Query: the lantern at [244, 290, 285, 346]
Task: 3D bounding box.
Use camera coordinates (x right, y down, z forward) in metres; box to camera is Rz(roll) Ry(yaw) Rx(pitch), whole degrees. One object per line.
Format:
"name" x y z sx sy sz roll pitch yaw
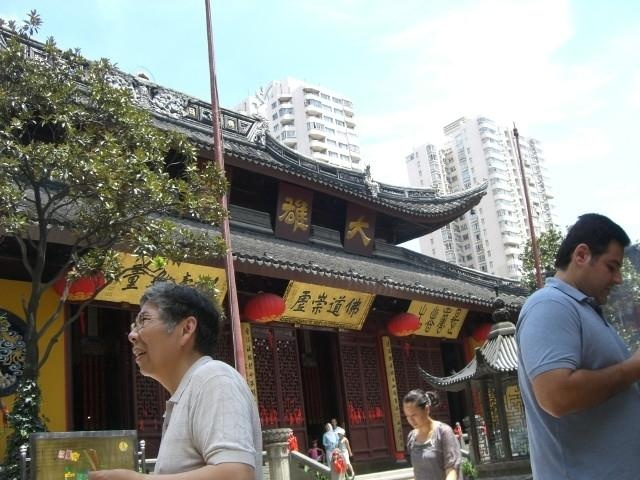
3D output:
"lantern" -0.954 1.215 10.476 0.551 0.445 0.561 -5 -1 12

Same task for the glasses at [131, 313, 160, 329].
"glasses" -0.648 0.293 2.265 0.078 0.024 0.075 14 -26 -32

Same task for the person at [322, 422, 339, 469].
"person" 0.137 3.732 10.702 0.320 0.860 0.261 6 -6 -39

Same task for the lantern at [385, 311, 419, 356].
"lantern" 1.791 1.981 12.986 0.739 0.853 0.767 -20 -9 37
